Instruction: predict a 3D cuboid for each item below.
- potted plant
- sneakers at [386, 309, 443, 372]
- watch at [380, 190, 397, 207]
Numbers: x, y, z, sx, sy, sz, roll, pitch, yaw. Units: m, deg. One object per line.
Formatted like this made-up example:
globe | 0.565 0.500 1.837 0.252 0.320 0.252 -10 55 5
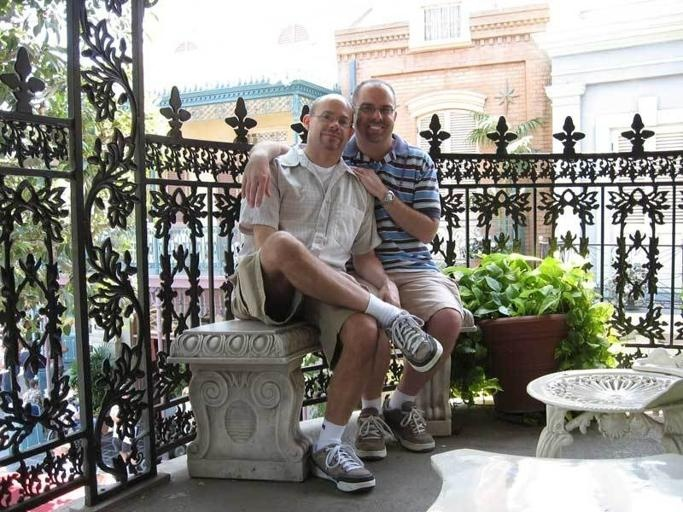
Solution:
potted plant | 1.169 0.476 4.306 0.933 1.014 0.920 0 5 -43
sneakers | 0.327 0.389 3.267 0.175 0.158 0.430 47 -2 -25
watch | 0.267 -0.331 3.708 0.057 0.099 0.089 -3 7 -27
